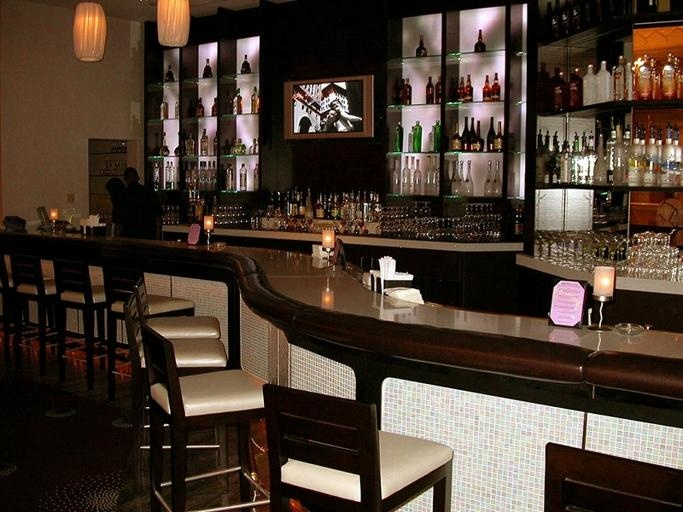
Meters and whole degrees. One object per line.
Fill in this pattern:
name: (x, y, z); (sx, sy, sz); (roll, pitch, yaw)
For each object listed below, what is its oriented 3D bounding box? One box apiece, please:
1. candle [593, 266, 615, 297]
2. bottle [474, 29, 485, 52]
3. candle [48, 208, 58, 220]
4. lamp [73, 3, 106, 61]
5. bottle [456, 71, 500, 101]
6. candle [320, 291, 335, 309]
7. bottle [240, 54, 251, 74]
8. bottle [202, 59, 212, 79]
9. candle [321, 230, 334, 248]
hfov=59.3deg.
candle: (1.292, 0.118, 2.959); (0.090, 0.149, 0.163); (4, 11, 22)
bottle: (1.505, -2.343, 6.544); (0.122, 0.278, 0.259); (1, 11, 12)
candle: (-3.043, -0.439, 6.344); (0.064, 0.113, 0.283); (-6, 12, -28)
lamp: (-2.258, -2.019, 5.380); (0.275, 0.514, 0.260); (-7, 12, -31)
bottle: (1.482, -1.854, 6.540); (0.315, 0.231, 0.112); (2, 5, 27)
candle: (-0.076, 0.226, 3.108); (0.052, 0.099, 0.058); (2, 8, 0)
bottle: (-1.301, -2.583, 8.068); (0.146, 0.285, 0.357); (-2, 11, -9)
bottle: (-1.883, -2.621, 8.383); (0.149, 0.290, 0.494); (-3, 11, -12)
candle: (-0.108, -0.130, 4.630); (0.108, 0.138, 0.116); (1, 4, -1)
